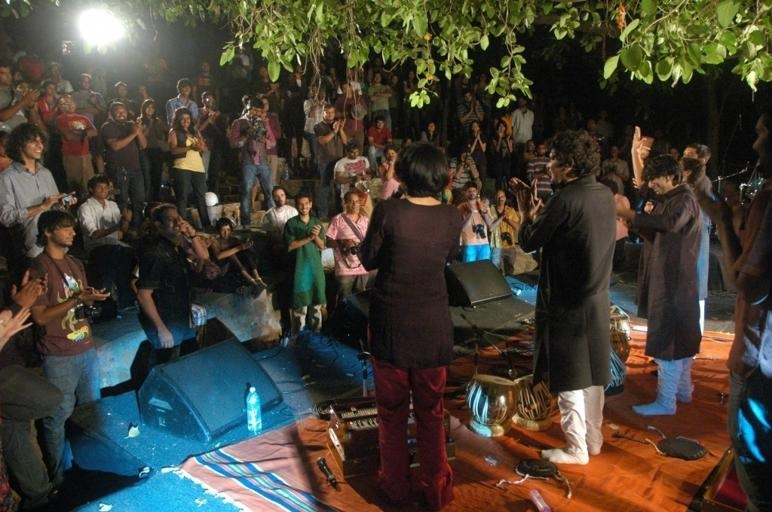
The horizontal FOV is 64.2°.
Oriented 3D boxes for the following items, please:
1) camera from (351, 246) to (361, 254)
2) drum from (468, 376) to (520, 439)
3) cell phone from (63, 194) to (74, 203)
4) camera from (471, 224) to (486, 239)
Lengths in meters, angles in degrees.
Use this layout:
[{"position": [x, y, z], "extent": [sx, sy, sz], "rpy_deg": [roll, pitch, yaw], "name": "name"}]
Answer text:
[{"position": [-0.433, -0.075, 8.694], "extent": [0.154, 0.079, 0.218], "rpy_deg": [1, 9, 3], "name": "camera"}, {"position": [1.131, 1.604, 6.547], "extent": [0.531, 0.529, 0.531], "rpy_deg": [3, 3, 22], "name": "drum"}, {"position": [-3.820, -0.685, 7.385], "extent": [0.143, 0.052, 0.140], "rpy_deg": [20, 6, 8], "name": "cell phone"}, {"position": [1.603, -0.403, 10.499], "extent": [0.182, 0.248, 0.113], "rpy_deg": [1, -2, -9], "name": "camera"}]
